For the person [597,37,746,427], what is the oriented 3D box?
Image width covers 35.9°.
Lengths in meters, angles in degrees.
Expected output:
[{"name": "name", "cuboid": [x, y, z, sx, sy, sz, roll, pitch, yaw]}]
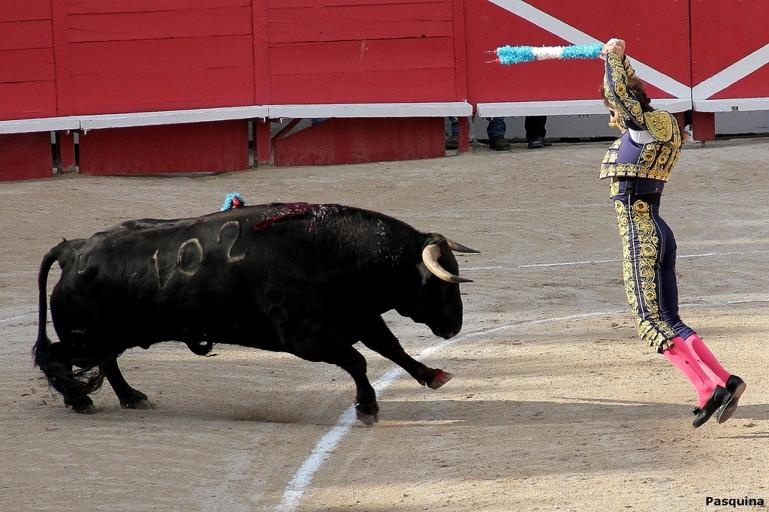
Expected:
[{"name": "person", "cuboid": [1.693, -0.158, 7.171, 0.500, 2.327, 0.924, -8, 10, -22]}]

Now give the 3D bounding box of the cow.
[{"name": "cow", "cuboid": [-0.768, 0.395, 7.904, 3.555, 1.217, 0.879, -2, 2, 24]}]

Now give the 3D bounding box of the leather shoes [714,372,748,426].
[{"name": "leather shoes", "cuboid": [1.988, 0.826, 6.934, 0.137, 0.307, 0.140, 8, 26, -46]}]

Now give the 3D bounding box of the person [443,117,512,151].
[{"name": "person", "cuboid": [1.243, -1.626, 15.623, 0.877, 0.455, 0.535, -9, 10, -43]}]
